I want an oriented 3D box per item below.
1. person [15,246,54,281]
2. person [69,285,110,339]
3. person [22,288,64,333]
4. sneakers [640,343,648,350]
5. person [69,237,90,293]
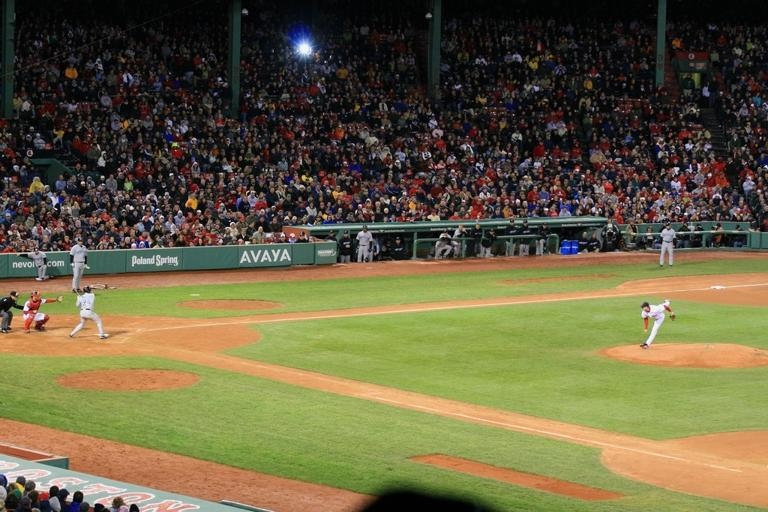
[{"bbox_3d":[-13.455,0.278,31.727,0.854,1.302,0.577,-3,11,-22],"label":"person"},{"bbox_3d":[-9.151,1.813,25.300,1.173,1.390,0.816,13,33,9],"label":"person"},{"bbox_3d":[-10.621,1.771,25.436,0.587,0.919,1.037,27,30,33],"label":"person"},{"bbox_3d":[7.445,2.574,23.228,0.233,0.200,0.265,6,10,23],"label":"sneakers"},{"bbox_3d":[-11.098,0.350,29.689,0.543,1.954,1.078,-3,11,-20],"label":"person"}]
